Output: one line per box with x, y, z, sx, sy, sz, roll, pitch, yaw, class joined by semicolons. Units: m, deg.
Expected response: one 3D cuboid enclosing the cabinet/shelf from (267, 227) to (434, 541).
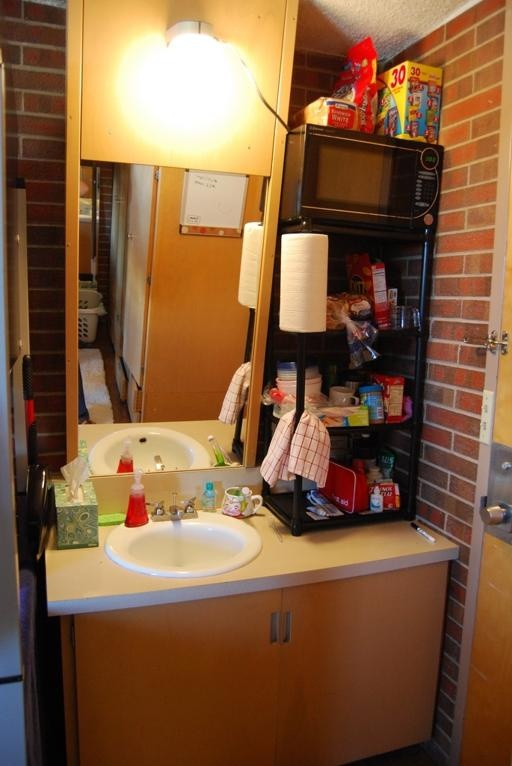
0.291;-0.031;1.731;0.394;0.920;0.296;-2;14;-7;cabinet/shelf

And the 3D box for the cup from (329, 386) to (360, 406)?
0.280;0.044;1.711;0.050;0.060;0.080;-10;25;-32;cup

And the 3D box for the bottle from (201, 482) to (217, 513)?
-0.145;0.345;1.705;0.045;0.109;0.103;2;12;-5;bottle

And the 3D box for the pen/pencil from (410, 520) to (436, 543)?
0.509;0.460;1.649;0.015;0.014;0.082;7;7;-13;pen/pencil

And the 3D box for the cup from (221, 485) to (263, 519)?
-0.037;0.374;1.705;0.101;0.073;0.081;8;-3;-17;cup

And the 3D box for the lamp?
-0.175;-0.729;1.436;0.274;0.298;0.093;3;13;-17;lamp

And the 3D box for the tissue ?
-0.476;0.330;1.450;0.100;0.243;0.163;-2;13;-13;tissue 

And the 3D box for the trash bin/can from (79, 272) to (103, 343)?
-0.444;-0.209;1.468;0.082;0.109;0.142;-3;44;-13;trash bin/can

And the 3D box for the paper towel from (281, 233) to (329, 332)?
0.125;-0.261;1.431;0.124;0.247;0.074;4;11;4;paper towel
